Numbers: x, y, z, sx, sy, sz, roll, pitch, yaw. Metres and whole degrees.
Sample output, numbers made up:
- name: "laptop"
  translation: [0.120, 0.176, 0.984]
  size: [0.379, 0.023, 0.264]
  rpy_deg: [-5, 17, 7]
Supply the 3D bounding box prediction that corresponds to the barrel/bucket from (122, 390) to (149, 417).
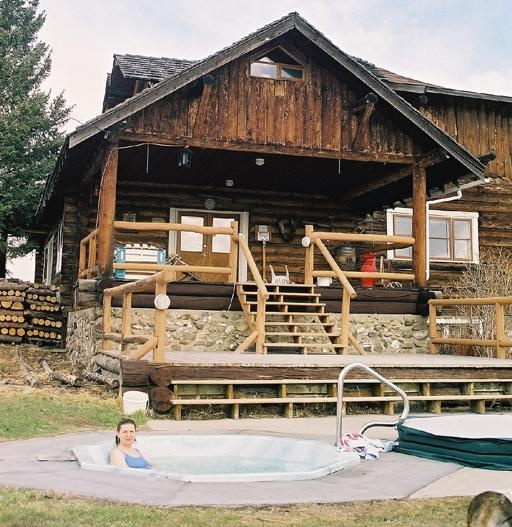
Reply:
- name: "barrel/bucket"
  translation: [-1.555, 1.795, 12.470]
  size: [0.265, 0.233, 0.274]
  rpy_deg: [4, -3, 0]
